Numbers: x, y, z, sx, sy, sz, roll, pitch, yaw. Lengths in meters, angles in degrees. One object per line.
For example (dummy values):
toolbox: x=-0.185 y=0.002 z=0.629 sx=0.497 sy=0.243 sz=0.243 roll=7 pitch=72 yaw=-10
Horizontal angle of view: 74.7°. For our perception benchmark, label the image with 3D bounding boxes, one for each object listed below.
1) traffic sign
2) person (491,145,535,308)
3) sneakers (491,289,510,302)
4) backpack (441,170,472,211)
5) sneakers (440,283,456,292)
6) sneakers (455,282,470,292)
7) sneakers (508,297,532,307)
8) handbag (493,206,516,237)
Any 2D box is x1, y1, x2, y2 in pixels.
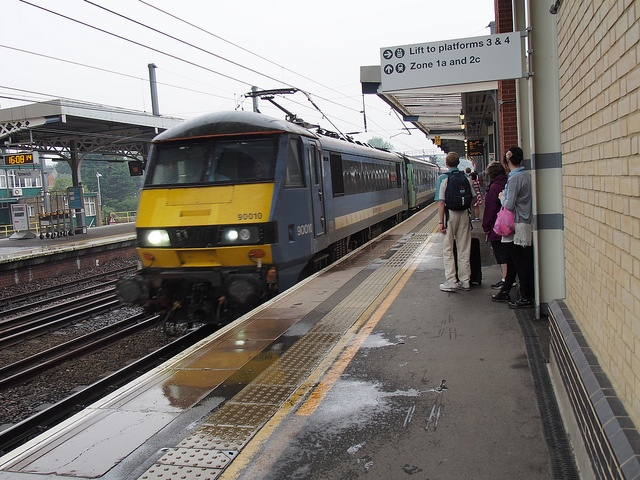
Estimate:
traffic sign: x=1.605 y=-2.164 z=5.082 sx=1.954 sy=0.580 sz=0.174 roll=-9 pitch=21 yaw=-13
person: x=2.626 y=-0.145 z=5.617 sx=0.521 sy=2.156 sz=0.630 roll=-6 pitch=9 yaw=3
sneakers: x=2.560 y=0.818 z=6.065 sx=0.317 sy=0.177 sz=0.110 roll=1 pitch=6 yaw=15
backpack: x=2.157 y=-0.782 z=6.578 sx=0.480 sy=0.546 sz=0.347 roll=-6 pitch=10 yaw=-12
sneakers: x=2.060 y=0.768 z=6.782 sx=0.271 sy=0.111 sz=0.106 roll=3 pitch=3 yaw=23
sneakers: x=2.302 y=0.760 z=6.746 sx=0.114 sy=0.084 sz=0.224 roll=0 pitch=7 yaw=9
sneakers: x=2.728 y=0.861 z=5.778 sx=0.324 sy=0.117 sz=0.112 roll=1 pitch=3 yaw=12
handbag: x=2.510 y=-0.239 z=5.706 sx=0.229 sy=0.459 sz=0.370 roll=-13 pitch=18 yaw=5
